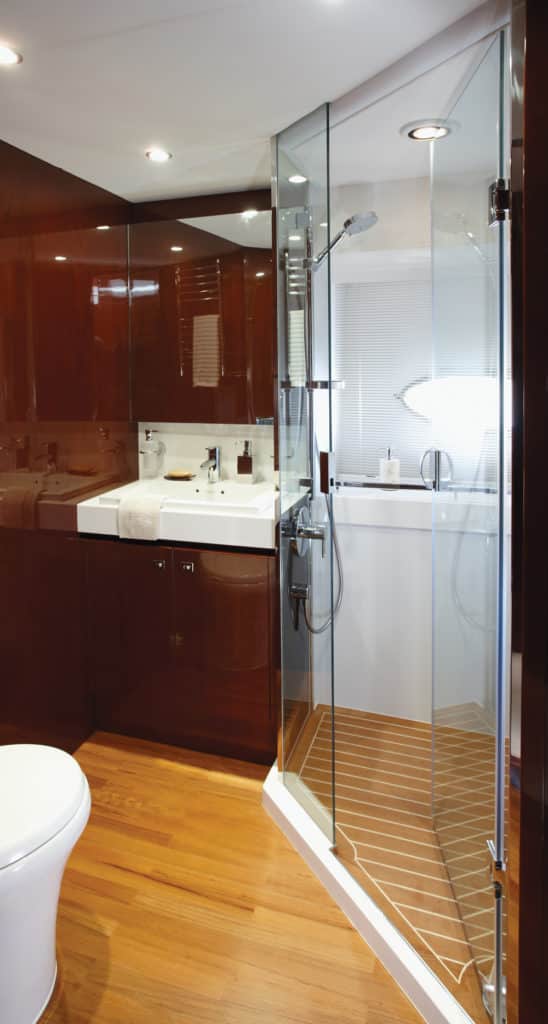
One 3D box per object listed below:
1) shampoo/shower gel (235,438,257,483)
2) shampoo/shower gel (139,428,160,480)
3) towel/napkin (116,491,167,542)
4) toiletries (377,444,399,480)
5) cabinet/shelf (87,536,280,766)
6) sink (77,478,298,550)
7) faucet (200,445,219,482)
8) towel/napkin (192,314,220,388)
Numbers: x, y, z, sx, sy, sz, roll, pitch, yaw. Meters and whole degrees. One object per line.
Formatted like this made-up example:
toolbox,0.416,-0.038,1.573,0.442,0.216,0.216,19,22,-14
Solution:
shampoo/shower gel,-0.108,-0.196,2.735,0.075,0.161,0.063,-3,7,-2
shampoo/shower gel,-0.511,-0.237,2.892,0.085,0.194,0.041,-4,7,-14
towel/napkin,-0.452,0.010,2.399,0.114,0.175,0.058,-1,0,16
toiletries,0.399,-0.161,2.435,0.073,0.116,0.064,-1,8,13
cabinet/shelf,-0.287,0.454,2.409,0.529,0.739,0.299,1,3,19
sink,-0.261,-0.007,2.509,0.796,0.191,0.494,1,11,24
faucet,-0.248,-0.190,2.772,0.078,0.136,0.186,-3,9,-6
towel/napkin,-0.256,-0.604,2.660,0.099,0.307,0.026,-3,-20,2
